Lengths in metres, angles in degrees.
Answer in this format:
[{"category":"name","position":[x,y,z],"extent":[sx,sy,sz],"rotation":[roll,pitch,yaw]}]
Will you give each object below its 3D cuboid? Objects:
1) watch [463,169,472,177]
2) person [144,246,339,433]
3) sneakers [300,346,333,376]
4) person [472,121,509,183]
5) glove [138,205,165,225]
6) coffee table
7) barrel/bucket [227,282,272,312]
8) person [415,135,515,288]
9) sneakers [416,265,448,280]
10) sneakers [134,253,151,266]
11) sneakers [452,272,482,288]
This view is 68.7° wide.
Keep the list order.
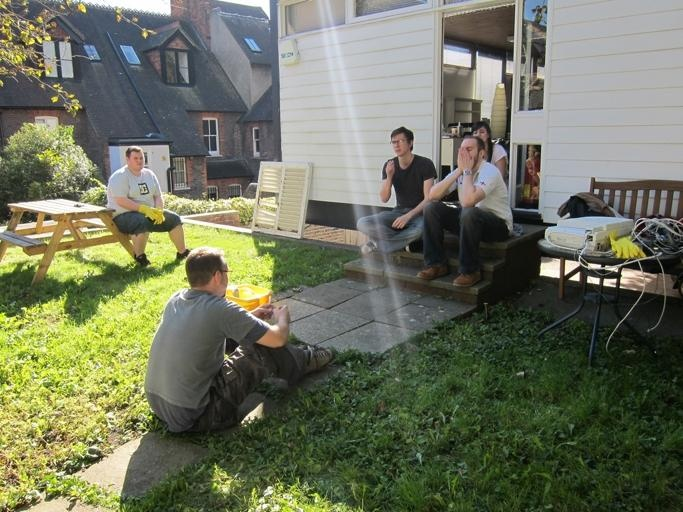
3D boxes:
[{"category":"watch","position":[1.370,-0.895,5.408],"extent":[0.070,0.073,0.068],"rotation":[1,5,4]},{"category":"person","position":[-0.698,0.561,3.851],"extent":[0.815,1.233,1.562],"rotation":[2,4,45]},{"category":"sneakers","position":[-0.183,0.838,4.136],"extent":[0.114,0.151,0.350],"rotation":[17,21,34]},{"category":"person","position":[1.978,-1.324,6.796],"extent":[0.454,0.915,0.536],"rotation":[6,-7,-41]},{"category":"glove","position":[-2.577,-0.591,6.822],"extent":[0.186,0.322,0.096],"rotation":[-54,3,-33]},{"category":"coffee table","position":[2.396,0.195,4.608],"extent":[1.236,0.949,1.247],"rotation":[-1,7,-7]},{"category":"barrel/bucket","position":[-0.837,0.348,4.399],"extent":[0.303,0.106,0.256],"rotation":[9,13,39]},{"category":"person","position":[1.340,-0.519,5.512],"extent":[0.935,1.538,0.828],"rotation":[5,15,27]},{"category":"sneakers","position":[1.035,0.188,5.640],"extent":[0.364,0.160,0.134],"rotation":[-4,12,-24]},{"category":"sneakers","position":[-2.699,0.043,6.790],"extent":[0.100,0.114,0.260],"rotation":[-14,20,-41]},{"category":"sneakers","position":[1.355,0.243,5.348],"extent":[0.325,0.141,0.127],"rotation":[-5,8,-34]}]
